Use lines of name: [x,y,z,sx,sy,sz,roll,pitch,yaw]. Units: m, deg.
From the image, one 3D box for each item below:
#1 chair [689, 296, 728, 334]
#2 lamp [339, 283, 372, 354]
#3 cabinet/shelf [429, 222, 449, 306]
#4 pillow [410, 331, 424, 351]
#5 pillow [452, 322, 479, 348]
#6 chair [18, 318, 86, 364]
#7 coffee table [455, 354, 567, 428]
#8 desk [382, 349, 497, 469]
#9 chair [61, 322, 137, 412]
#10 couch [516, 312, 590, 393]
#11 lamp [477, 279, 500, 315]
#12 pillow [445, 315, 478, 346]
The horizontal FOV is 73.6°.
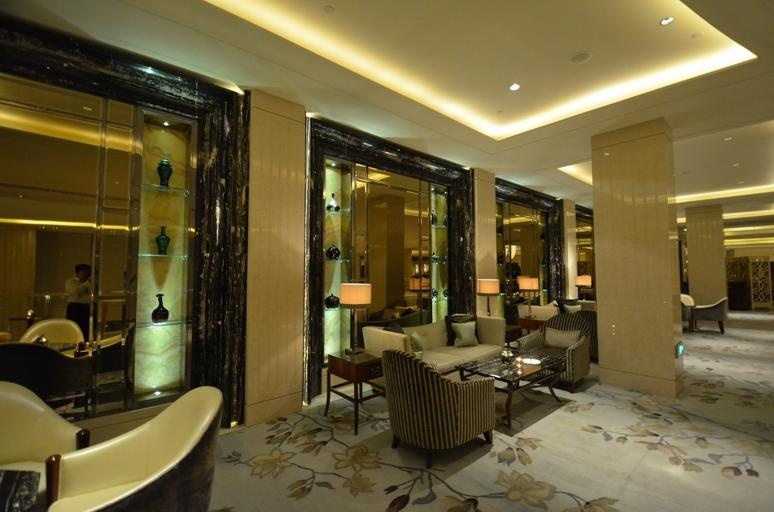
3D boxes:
chair: [7.859,1.380,12.684,0.986,1.068,0.981,-2,-5,34]
lamp: [-0.462,0.902,7.679,0.424,1.014,0.946,-2,-3,-5]
cabinet/shelf: [0.958,0.190,9.644,0.147,1.589,0.523,-5,-4,35]
pillow: [0.438,1.315,7.906,0.091,0.235,0.202,-10,-45,15]
pillow: [1.277,1.326,8.648,0.375,0.342,0.133,4,-24,-16]
chair: [-4.054,0.986,6.295,0.468,0.581,0.519,-2,7,-41]
coffee table: [1.790,2.115,7.543,1.570,0.697,0.889,-3,1,-44]
desk: [0.626,1.715,6.296,1.297,1.166,0.473,-3,-3,-2]
chair: [-3.779,1.549,6.862,0.925,1.090,0.806,8,-13,-37]
couch: [2.873,1.523,8.451,1.152,1.228,1.107,4,-5,-44]
lamp: [1.923,0.795,9.926,0.372,0.746,0.712,-3,-3,8]
pillow: [1.227,1.271,8.707,0.433,0.396,0.223,1,-21,-8]
